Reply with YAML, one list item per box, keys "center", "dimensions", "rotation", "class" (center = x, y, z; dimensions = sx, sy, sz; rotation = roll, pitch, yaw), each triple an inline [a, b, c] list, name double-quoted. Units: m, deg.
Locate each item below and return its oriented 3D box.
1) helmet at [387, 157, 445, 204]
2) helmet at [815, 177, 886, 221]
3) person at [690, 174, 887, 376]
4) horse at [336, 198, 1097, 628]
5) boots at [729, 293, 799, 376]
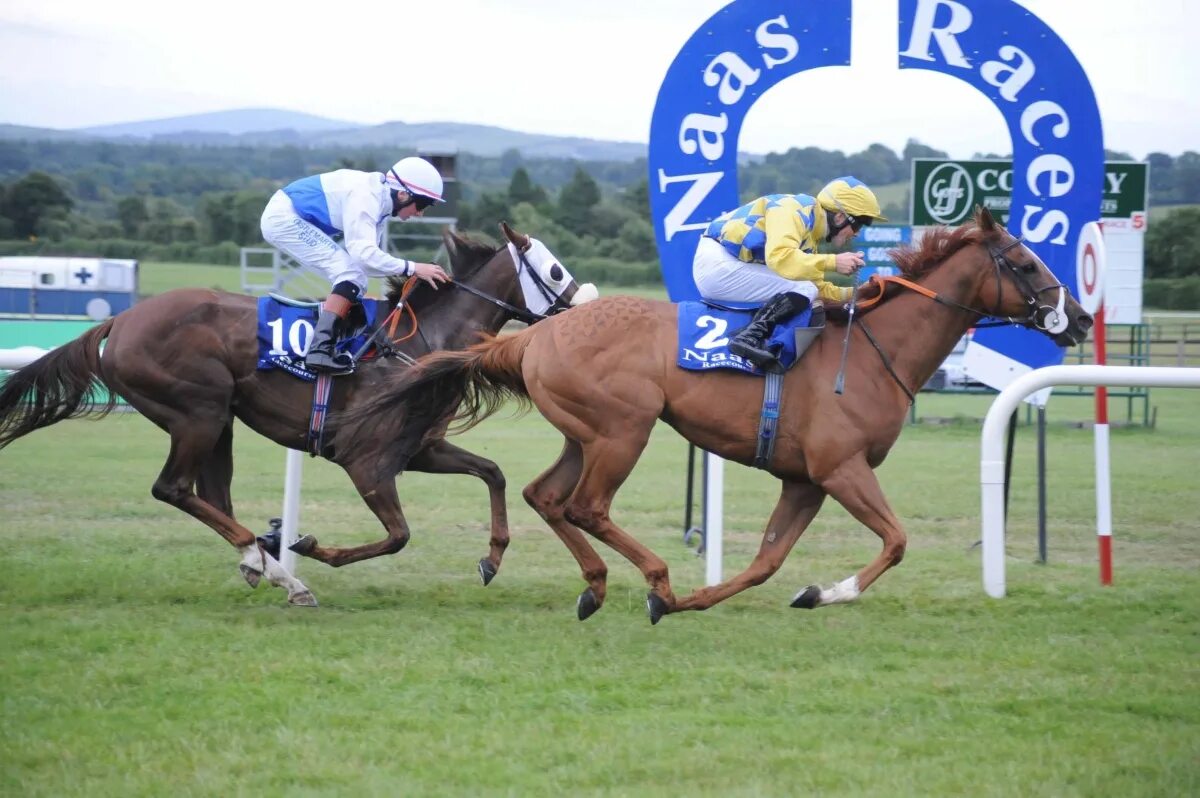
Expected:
- center: [-1.121, -1.299, 10.418]
  dimensions: [0.341, 0.166, 0.237]
  rotation: [13, 5, -1]
  class: "helmet"
- center: [1.389, -1.106, 9.662]
  dimensions: [0.328, 0.158, 0.232]
  rotation: [2, 21, -3]
  class: "helmet"
- center: [1.012, -0.704, 9.624]
  dimensions: [1.023, 1.030, 0.598]
  rotation: [1, 8, 4]
  class: "person"
- center: [0.513, 0.195, 9.896]
  dimensions: [4.604, 2.200, 0.930]
  rotation: [1, -4, 16]
  class: "horse"
- center: [0.913, -0.358, 9.495]
  dimensions: [0.398, 0.404, 0.190]
  rotation: [-5, 9, -37]
  class: "boots"
